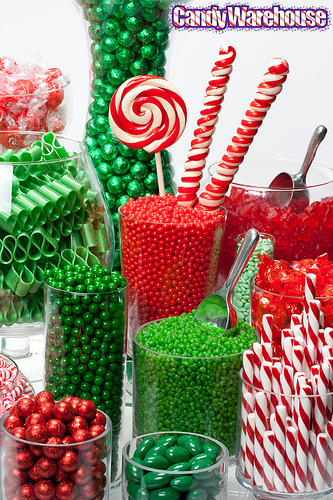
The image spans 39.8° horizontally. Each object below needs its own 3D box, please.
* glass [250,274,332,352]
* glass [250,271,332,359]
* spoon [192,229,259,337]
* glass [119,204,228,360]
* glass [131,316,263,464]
[{"bbox_3d":[0.182,0.091,0.705,0.101,0.077,0.109,-2,5,-21],"label":"glass"},{"bbox_3d":[0.175,0.095,0.703,0.106,0.082,0.115,-6,9,-36],"label":"glass"},{"bbox_3d":[0.096,0.068,0.779,0.070,0.206,0.058,29,0,13],"label":"spoon"},{"bbox_3d":[0.036,0.051,0.924,0.189,0.257,0.187,8,15,31],"label":"glass"},{"bbox_3d":[0.044,0.175,0.721,0.187,0.190,0.177,14,21,39],"label":"glass"}]
